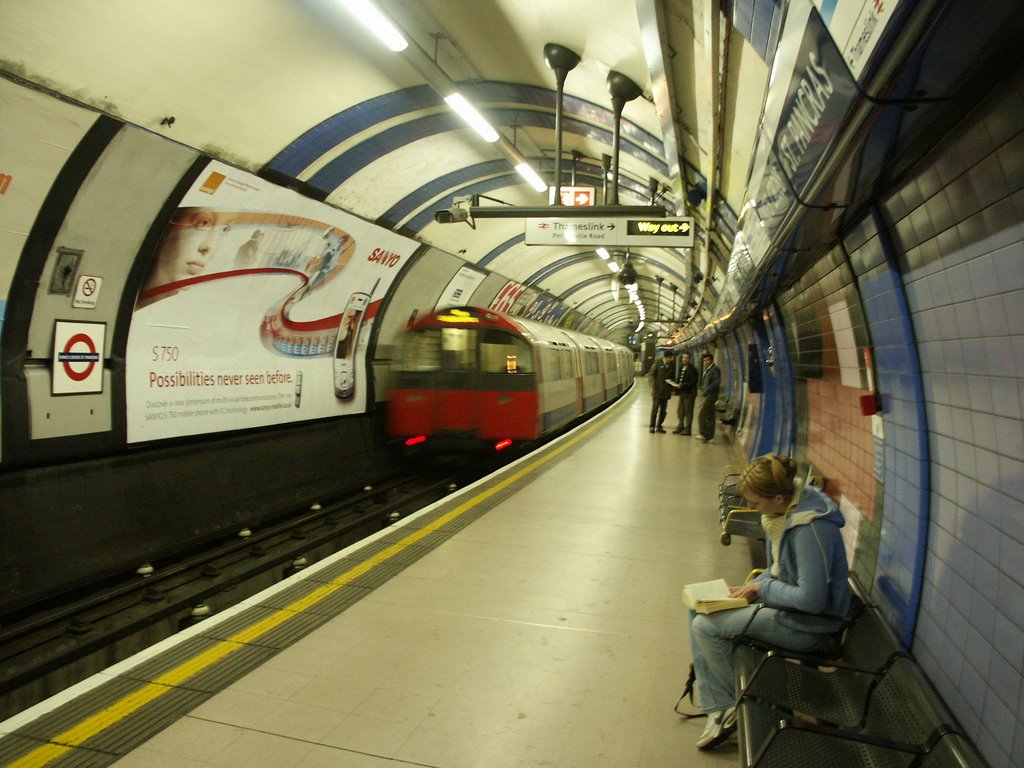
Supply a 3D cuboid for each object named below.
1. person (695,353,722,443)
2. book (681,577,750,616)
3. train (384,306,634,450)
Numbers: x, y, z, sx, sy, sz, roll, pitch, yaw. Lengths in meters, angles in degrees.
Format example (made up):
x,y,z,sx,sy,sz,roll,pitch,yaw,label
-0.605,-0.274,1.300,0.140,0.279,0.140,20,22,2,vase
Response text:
x,y,z,sx,sy,sz,roll,pitch,yaw,label
3.994,0.306,13.448,0.330,1.761,1.048,4,8,16,person
1.128,1.177,3.649,0.252,0.077,0.223,-4,7,-18,book
0.216,-0.132,15.027,2.426,3.156,7.826,4,8,18,train
